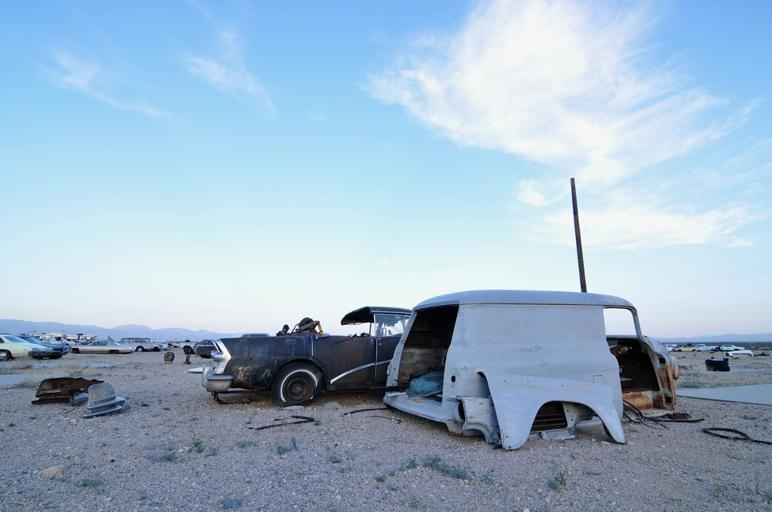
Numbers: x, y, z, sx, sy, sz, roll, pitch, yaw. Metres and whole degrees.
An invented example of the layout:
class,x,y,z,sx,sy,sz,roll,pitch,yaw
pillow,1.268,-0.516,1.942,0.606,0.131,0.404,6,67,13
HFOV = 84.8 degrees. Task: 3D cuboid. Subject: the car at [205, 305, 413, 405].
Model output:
class,x,y,z,sx,sy,sz,roll,pitch,yaw
car,-1.978,2.252,10.085,5.419,1.459,2.690,-1,-5,-20
